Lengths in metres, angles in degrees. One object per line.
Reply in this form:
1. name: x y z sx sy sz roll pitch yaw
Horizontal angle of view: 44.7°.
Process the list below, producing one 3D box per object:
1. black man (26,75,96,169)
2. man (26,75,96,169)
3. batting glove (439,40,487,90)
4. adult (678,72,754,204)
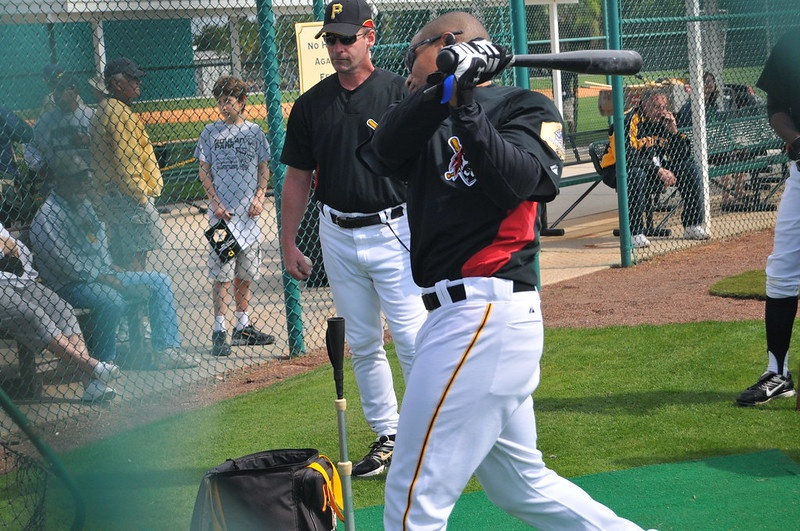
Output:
1. black man: -1.697 -0.697 4.832 0.355 0.522 0.837 -9 16 -20
2. man: -1.698 -0.698 4.834 0.355 0.522 0.841 -9 16 -20
3. batting glove: 0.305 -0.959 4.692 0.173 0.232 0.101 1 2 -17
4. adult: 3.898 -1.533 12.001 0.571 0.714 1.649 8 19 36
